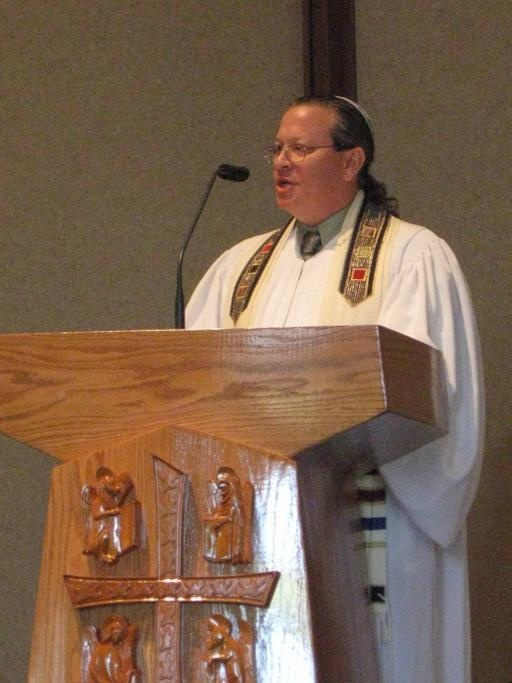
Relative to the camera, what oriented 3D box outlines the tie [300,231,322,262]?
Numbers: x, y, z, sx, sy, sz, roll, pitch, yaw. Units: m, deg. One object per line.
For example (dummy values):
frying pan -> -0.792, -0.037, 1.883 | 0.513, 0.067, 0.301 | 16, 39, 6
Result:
tie -> 0.136, -0.241, 3.376 | 0.054, 0.073, 0.019 | -10, -29, 36
